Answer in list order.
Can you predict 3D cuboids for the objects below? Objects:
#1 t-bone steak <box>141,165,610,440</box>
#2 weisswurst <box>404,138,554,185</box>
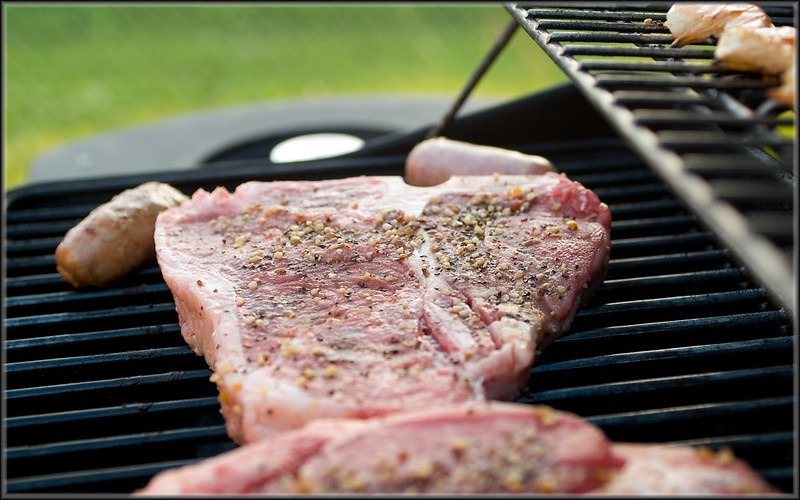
[{"bbox_3d":[-0.177,0.098,3.324,1.588,0.345,1.493,-26,58,-18],"label":"t-bone steak"},{"bbox_3d":[0.439,-0.508,4.025,0.749,0.331,0.269,7,98,34],"label":"weisswurst"}]
